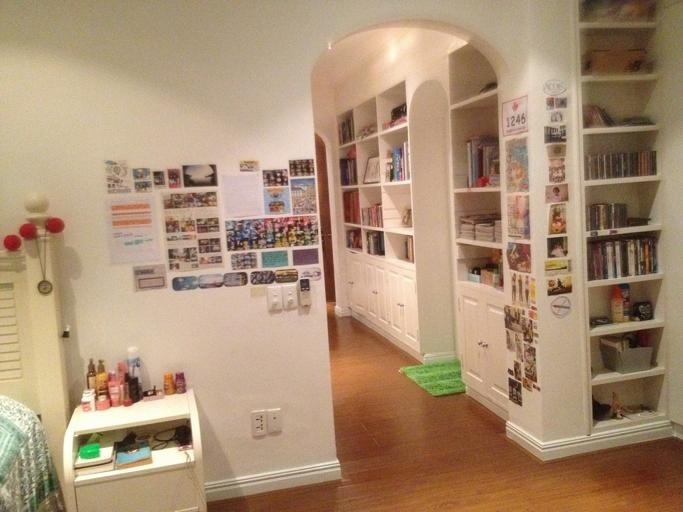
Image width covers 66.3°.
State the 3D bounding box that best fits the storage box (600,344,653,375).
[{"bbox_3d":[1.974,0.699,3.626,0.271,0.137,0.190,1,-2,-16],"label":"storage box"}]

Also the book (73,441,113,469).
[{"bbox_3d":[-1.327,1.056,2.781,0.139,0.034,0.137,2,6,-25],"label":"book"}]

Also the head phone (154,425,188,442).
[{"bbox_3d":[-0.990,1.013,3.054,0.157,0.040,0.095,-3,11,-13],"label":"head phone"}]

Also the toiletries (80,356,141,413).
[{"bbox_3d":[-1.324,0.726,3.083,0.360,0.344,0.255,2,-3,-39],"label":"toiletries"}]
